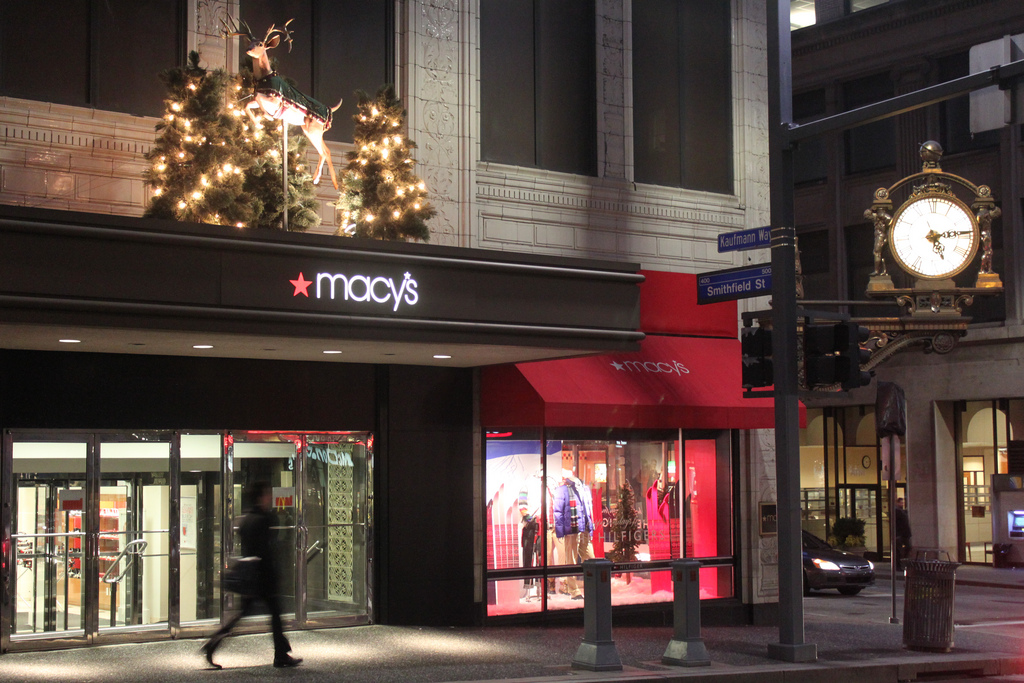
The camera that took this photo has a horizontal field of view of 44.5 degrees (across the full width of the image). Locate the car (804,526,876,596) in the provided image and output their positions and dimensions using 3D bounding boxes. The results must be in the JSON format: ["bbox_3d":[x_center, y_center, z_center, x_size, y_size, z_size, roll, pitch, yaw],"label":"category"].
[{"bbox_3d":[7.880,5.553,30.427,1.563,1.271,1.253,-4,-10,12],"label":"car"}]

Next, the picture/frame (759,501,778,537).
[{"bbox_3d":[4.942,3.436,24.229,0.347,0.617,0.177,1,-10,-15],"label":"picture/frame"}]

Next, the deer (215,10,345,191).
[{"bbox_3d":[-3.632,-3.898,20.027,1.929,2.285,0.779,16,-6,-12],"label":"deer"}]

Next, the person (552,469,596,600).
[{"bbox_3d":[1.127,3.570,23.093,0.757,2.259,0.674,2,-5,-13],"label":"person"}]

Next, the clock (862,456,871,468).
[{"bbox_3d":[11.338,3.830,40.010,0.082,0.433,0.326,6,-13,-37],"label":"clock"}]

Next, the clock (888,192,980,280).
[{"bbox_3d":[9.801,-2.598,29.082,1.925,1.946,0.844,-5,-10,17],"label":"clock"}]

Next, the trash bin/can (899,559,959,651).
[{"bbox_3d":[7.077,4.466,21.305,0.966,1.444,0.987,1,-6,-15],"label":"trash bin/can"}]

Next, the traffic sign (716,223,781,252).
[{"bbox_3d":[3.836,-1.706,20.296,0.492,0.453,0.973,4,-12,-33],"label":"traffic sign"}]
